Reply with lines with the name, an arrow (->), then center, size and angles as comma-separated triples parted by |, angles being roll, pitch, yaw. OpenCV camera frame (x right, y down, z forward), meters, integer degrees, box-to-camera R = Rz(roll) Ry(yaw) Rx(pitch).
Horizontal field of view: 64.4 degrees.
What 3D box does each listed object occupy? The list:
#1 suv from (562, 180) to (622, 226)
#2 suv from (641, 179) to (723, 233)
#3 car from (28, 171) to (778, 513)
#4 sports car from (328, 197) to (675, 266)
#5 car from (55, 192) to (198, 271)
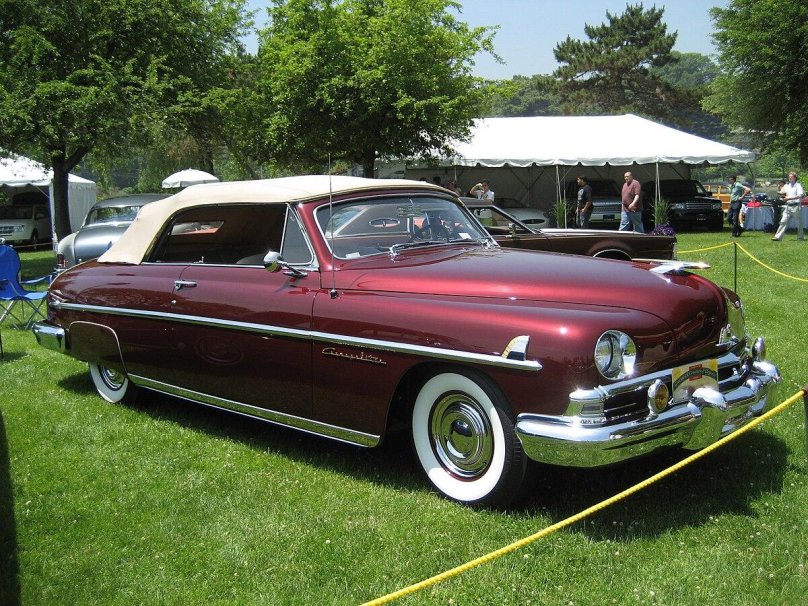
suv -> 6.610, -3.488, 22.308 | 1.568, 1.346, 3.006 | 0, 11, 4
suv -> 9.622, -3.347, 21.624 | 1.816, 1.434, 3.215 | -4, 5, -20
car -> -0.428, 0.199, 5.136 | 5.205, 1.547, 2.357 | 5, 12, 33
sports car -> 2.048, -0.851, 8.559 | 3.124, 0.834, 1.682 | 4, 4, 8
car -> -6.007, -1.426, 13.130 | 2.098, 1.558, 3.552 | -3, 12, 2
